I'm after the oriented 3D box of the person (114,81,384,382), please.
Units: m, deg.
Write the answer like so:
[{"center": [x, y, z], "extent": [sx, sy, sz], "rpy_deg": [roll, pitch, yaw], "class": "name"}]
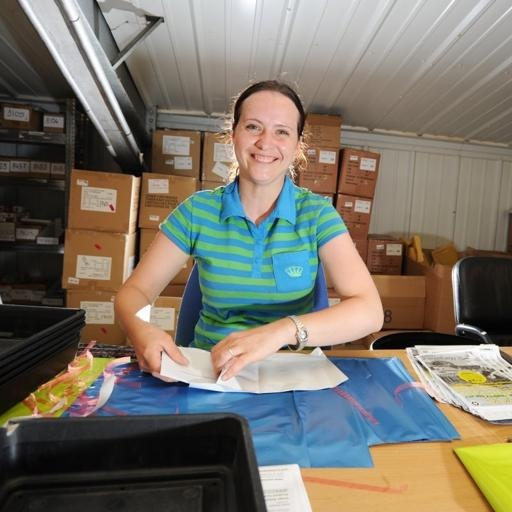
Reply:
[{"center": [-0.024, 0.007, 1.119], "extent": [0.640, 0.730, 0.457], "rpy_deg": [-5, 19, -16], "class": "person"}]
